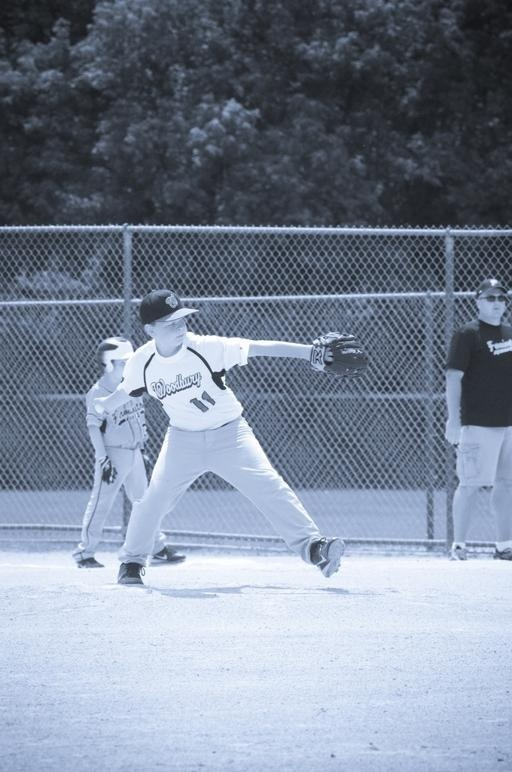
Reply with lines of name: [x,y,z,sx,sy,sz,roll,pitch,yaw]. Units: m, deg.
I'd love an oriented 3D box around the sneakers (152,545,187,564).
sneakers: [-0.517,1.080,7.495,0.273,0.114,0.087,-1,-3,3]

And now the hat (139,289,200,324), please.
hat: [-0.485,-0.412,6.324,0.272,0.132,0.182,-13,6,30]

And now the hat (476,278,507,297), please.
hat: [1.432,-0.610,7.274,0.124,0.075,0.155,2,-14,-11]

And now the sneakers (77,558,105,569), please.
sneakers: [-1.020,1.093,7.258,0.182,0.066,0.063,-1,-3,12]

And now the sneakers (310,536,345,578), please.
sneakers: [0.361,0.898,6.156,0.131,0.107,0.271,26,-26,16]

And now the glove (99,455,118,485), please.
glove: [-0.900,0.510,7.056,0.050,0.141,0.119,-8,2,41]

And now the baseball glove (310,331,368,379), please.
baseball glove: [0.415,-0.152,6.055,0.299,0.228,0.220,-1,2,-4]

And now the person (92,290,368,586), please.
person: [-0.140,0.304,6.265,1.269,1.603,0.339,1,3,29]
